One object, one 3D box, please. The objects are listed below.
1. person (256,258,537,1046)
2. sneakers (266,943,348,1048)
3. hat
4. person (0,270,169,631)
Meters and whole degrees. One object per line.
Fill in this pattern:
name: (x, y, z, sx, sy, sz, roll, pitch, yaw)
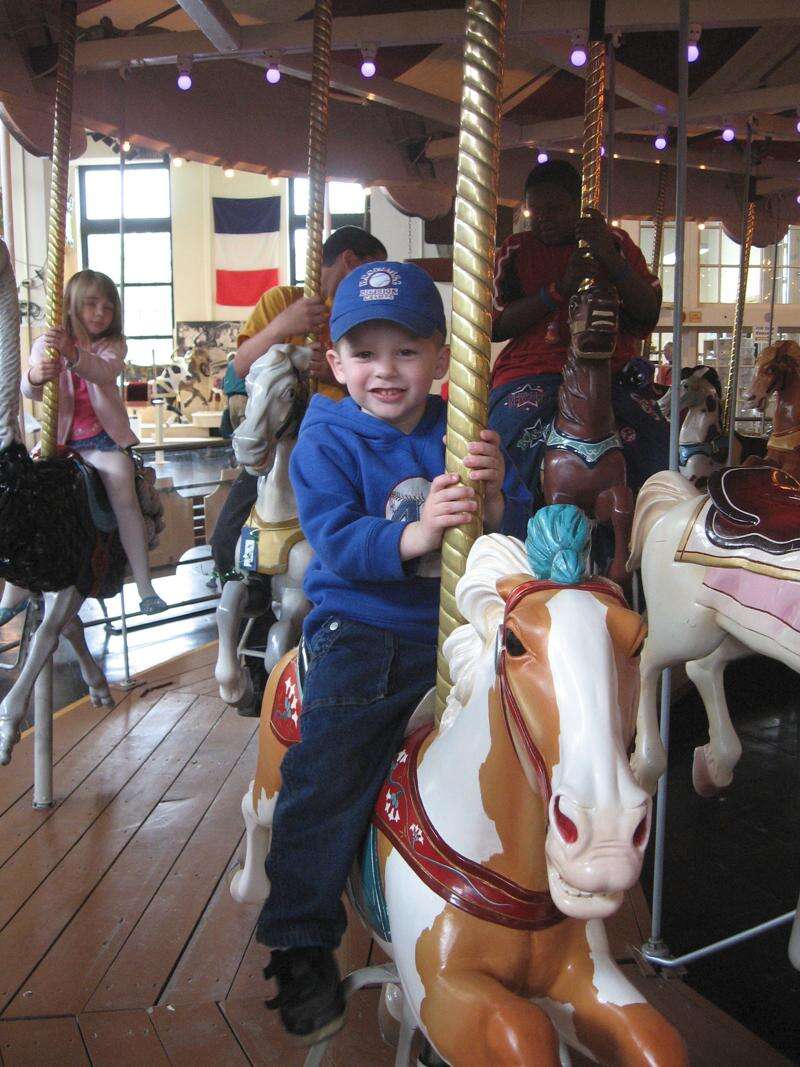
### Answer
person: (-0.013, 0.122, 1.287, 0.404, 1.089, 0.515, 1, 7, 8)
sneakers: (-0.133, 0.631, 1.162, 0.115, 0.100, 0.125, -1, 7, -5)
hat: (-0.023, -0.375, 1.328, 0.181, 0.118, 0.249, 0, 12, 6)
person: (-1.213, -0.321, 3.221, 0.545, 1.417, 0.885, -2, 7, -15)
